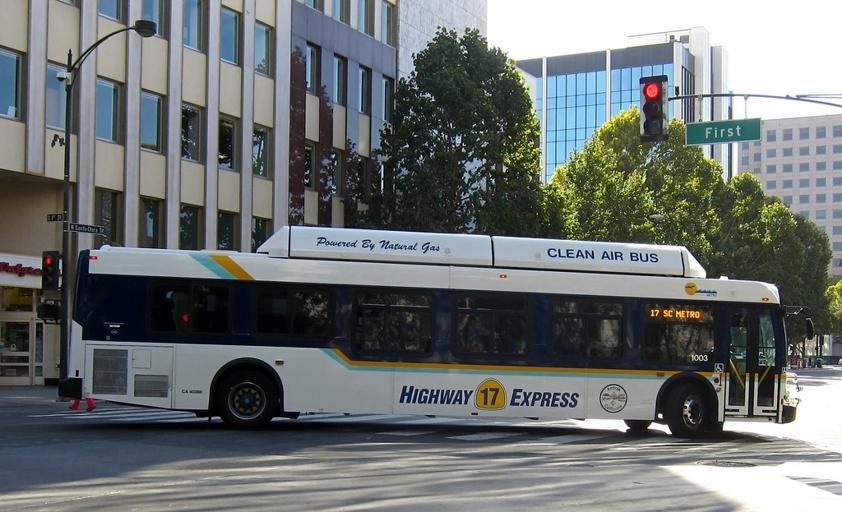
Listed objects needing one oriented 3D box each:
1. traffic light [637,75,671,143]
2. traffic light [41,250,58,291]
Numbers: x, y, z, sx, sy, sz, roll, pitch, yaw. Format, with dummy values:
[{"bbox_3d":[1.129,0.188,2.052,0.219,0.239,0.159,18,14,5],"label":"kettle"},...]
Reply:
[{"bbox_3d":[7.122,-4.374,35.615,0.711,2.300,0.690,1,0,-3],"label":"traffic light"},{"bbox_3d":[-13.798,0.498,43.046,0.647,1.385,0.753,2,-8,-18],"label":"traffic light"}]
